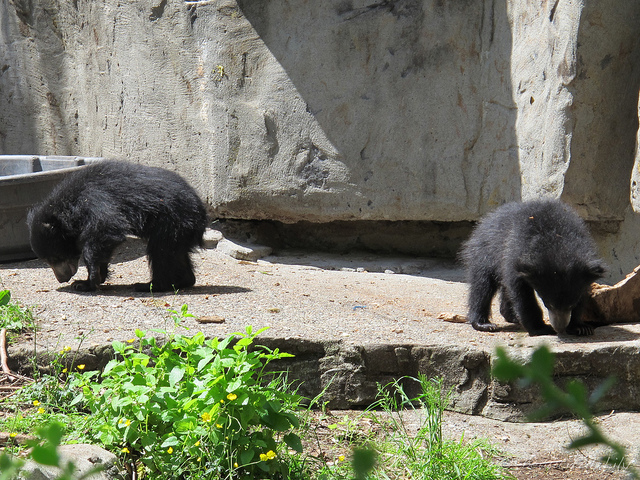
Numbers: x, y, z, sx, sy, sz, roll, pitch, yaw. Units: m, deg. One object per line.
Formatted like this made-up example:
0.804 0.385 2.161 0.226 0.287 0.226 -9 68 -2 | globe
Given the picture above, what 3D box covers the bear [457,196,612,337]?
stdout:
1.906 0.311 9.025 0.918 1.260 2.136 -6 9 -10 | bear
